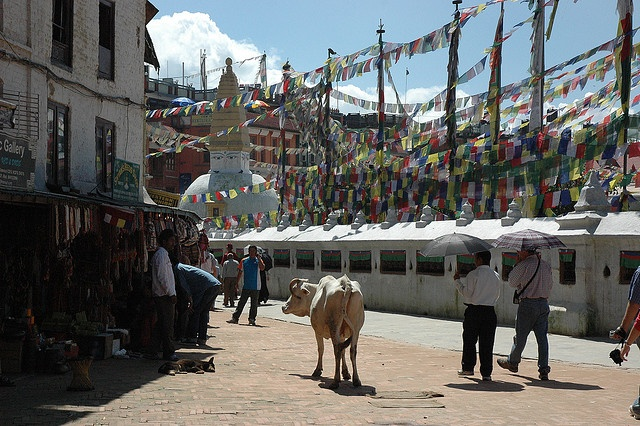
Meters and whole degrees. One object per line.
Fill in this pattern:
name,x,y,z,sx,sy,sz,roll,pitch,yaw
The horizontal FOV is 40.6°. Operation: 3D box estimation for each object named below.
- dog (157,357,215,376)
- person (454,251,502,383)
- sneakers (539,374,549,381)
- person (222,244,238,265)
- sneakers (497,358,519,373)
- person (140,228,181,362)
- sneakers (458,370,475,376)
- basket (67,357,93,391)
dog,-2.642,3.072,17.300,1.184,0.526,0.395,4,-26,-16
person,3.132,2.058,17.440,0.788,2.541,0.724,2,3,13
sneakers,4.486,3.303,17.467,0.202,0.136,0.298,2,3,7
person,-3.352,1.551,32.132,0.708,0.902,0.532,3,-9,-14
sneakers,3.828,3.156,18.027,0.465,0.183,0.218,27,4,30
person,-3.337,1.742,18.491,0.532,2.776,1.087,1,3,-11
sneakers,2.914,3.254,17.517,0.331,0.150,0.117,4,1,5
basket,-4.354,2.918,15.762,0.460,0.608,0.299,1,3,-16
